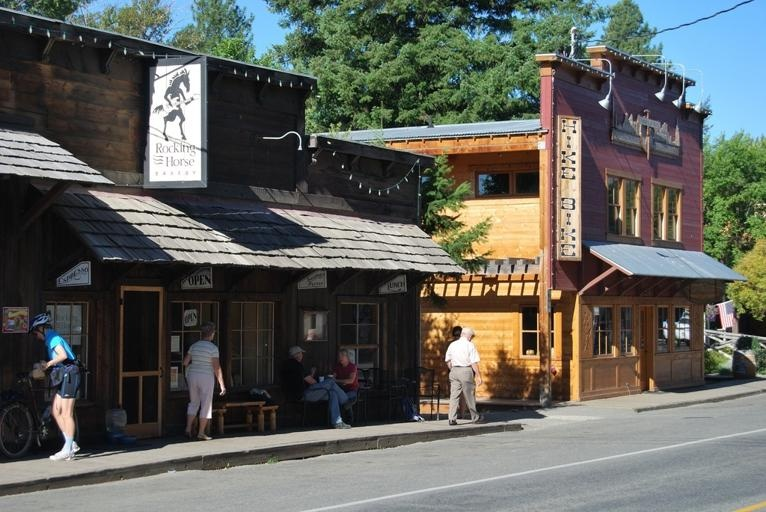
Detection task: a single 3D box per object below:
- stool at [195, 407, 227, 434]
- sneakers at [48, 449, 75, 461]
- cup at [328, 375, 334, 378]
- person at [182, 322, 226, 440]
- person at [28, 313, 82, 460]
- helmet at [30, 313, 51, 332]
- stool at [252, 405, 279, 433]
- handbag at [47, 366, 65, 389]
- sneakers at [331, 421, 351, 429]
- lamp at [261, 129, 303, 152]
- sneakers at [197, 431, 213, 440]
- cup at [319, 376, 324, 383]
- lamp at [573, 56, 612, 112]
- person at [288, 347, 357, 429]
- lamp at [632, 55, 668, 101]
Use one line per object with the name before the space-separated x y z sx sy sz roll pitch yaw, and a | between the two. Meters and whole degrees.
stool | -3.821 3.771 27.103 0.484 0.689 0.704 1 -2 -9
sneakers | -6.564 4.062 24.167 0.520 0.241 0.210 0 1 -6
cup | -1.288 2.966 29.155 0.070 0.072 0.072 1 -5 0
person | -3.992 2.795 26.408 0.909 2.554 0.490 2 3 39
person | -6.678 2.677 24.331 0.894 2.932 0.667 1 2 16
helmet | -7.110 1.377 24.552 0.452 0.419 0.353 -7 -1 8
stool | -2.685 3.828 27.887 0.606 0.737 0.557 3 -5 -41
handbag | -6.657 2.474 24.156 0.314 0.420 0.135 -1 -3 45
sneakers | -1.021 4.087 28.576 0.486 0.222 0.165 1 0 -10
lamp | -2.431 -2.857 29.140 0.463 0.501 1.127 2 2 32
sneakers | -3.933 4.013 26.402 0.138 0.171 0.396 0 -1 30
cup | -1.505 3.020 28.892 0.079 0.118 0.152 1 0 -8
lamp | 6.980 -5.534 38.151 0.481 1.661 1.769 2 2 23
person | -1.581 3.158 28.524 1.527 1.957 0.598 1 2 -7
lamp | 9.495 -6.131 41.275 0.755 1.450 2.822 1 2 14
